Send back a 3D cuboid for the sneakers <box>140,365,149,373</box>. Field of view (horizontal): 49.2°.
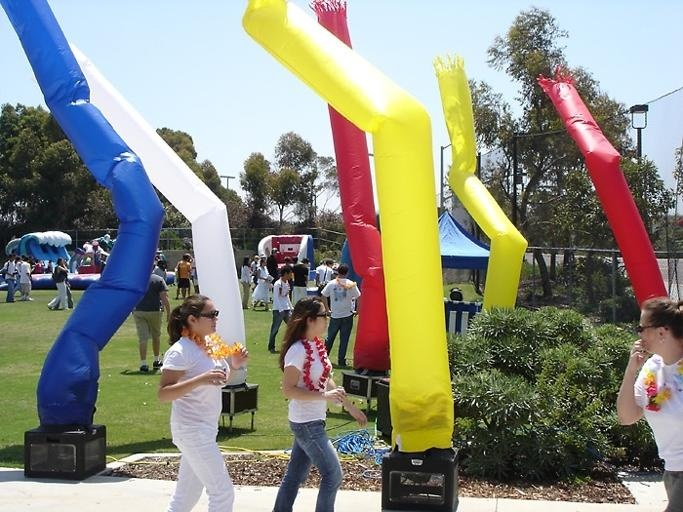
[{"bbox_3d":[-3.774,2.154,14.272,0.128,0.152,0.136,0,-6,-8],"label":"sneakers"}]
